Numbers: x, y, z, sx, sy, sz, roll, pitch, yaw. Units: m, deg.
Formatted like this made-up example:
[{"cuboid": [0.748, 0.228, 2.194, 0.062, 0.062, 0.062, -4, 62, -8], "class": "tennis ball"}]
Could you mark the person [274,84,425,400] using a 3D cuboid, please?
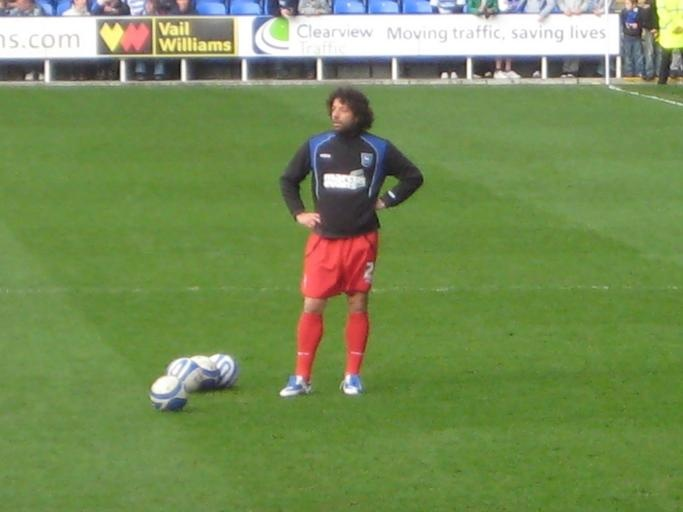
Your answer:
[{"cuboid": [0.032, -0.176, 15.502, 1.400, 3.349, 0.935, -1, 14, -2], "class": "person"}]

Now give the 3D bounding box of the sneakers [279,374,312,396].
[{"cuboid": [-0.513, 1.450, 15.487, 0.172, 0.173, 0.334, -1, -1, 40], "class": "sneakers"}]

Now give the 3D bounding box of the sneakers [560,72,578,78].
[{"cuboid": [4.328, -3.446, 26.390, 0.308, 0.143, 0.108, 7, 2, -1], "class": "sneakers"}]

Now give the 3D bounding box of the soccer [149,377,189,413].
[{"cuboid": [-1.863, 1.509, 15.120, 0.359, 0.388, 0.310, 13, 47, 2], "class": "soccer"}]

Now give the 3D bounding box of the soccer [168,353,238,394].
[{"cuboid": [-1.492, 1.307, 15.576, 0.639, 0.316, 0.388, -1, 0, -29], "class": "soccer"}]

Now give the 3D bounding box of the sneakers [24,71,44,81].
[{"cuboid": [-5.854, -3.458, 26.656, 0.343, 0.211, 0.254, 5, 8, 3], "class": "sneakers"}]

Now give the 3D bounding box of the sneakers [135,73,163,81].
[{"cuboid": [-3.605, -3.440, 26.409, 0.364, 0.145, 0.229, 4, -3, -10], "class": "sneakers"}]
